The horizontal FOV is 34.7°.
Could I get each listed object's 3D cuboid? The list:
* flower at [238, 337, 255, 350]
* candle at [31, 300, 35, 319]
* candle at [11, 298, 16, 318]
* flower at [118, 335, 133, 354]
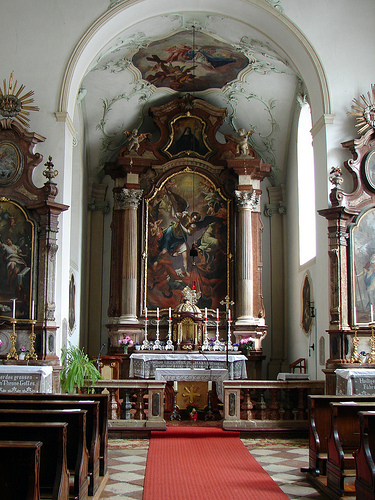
[{"bbox_3d":[1.187,1.858,11.960,0.258,0.211,0.255,-10,-12,33],"label":"flower"},{"bbox_3d":[-2.222,0.844,8.577,0.057,0.269,0.102,1,-9,-14],"label":"candle"},{"bbox_3d":[-2.465,0.819,8.471,0.060,0.302,0.443,1,-9,-16],"label":"candle"},{"bbox_3d":[-1.227,1.875,11.912,0.366,0.411,0.373,1,-8,-12],"label":"flower"}]
